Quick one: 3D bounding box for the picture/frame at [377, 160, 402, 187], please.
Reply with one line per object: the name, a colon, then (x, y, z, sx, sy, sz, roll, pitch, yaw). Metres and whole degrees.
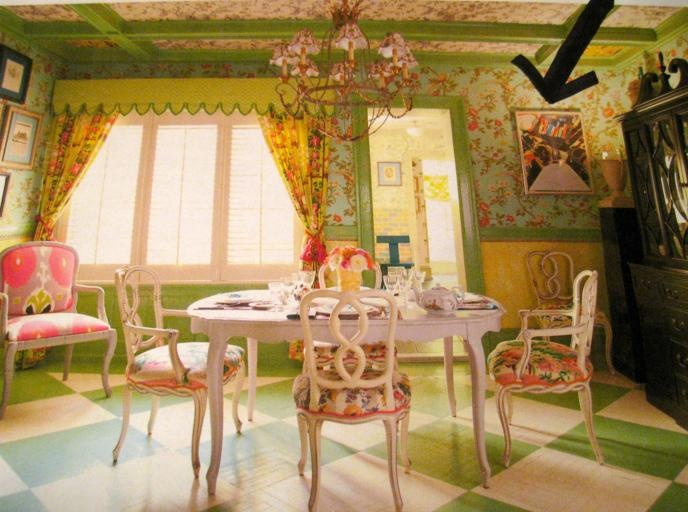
picture/frame: (0.752, -1.410, 8.272, 0.543, 0.441, 0.036, 2, -6, -7)

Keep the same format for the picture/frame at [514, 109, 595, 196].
picture/frame: (2.217, -1.081, 5.173, 1.088, 1.086, 0.083, -2, -14, -12)

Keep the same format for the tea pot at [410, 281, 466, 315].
tea pot: (0.621, 0.280, 3.214, 0.285, 0.142, 0.190, 1, 0, 9)
